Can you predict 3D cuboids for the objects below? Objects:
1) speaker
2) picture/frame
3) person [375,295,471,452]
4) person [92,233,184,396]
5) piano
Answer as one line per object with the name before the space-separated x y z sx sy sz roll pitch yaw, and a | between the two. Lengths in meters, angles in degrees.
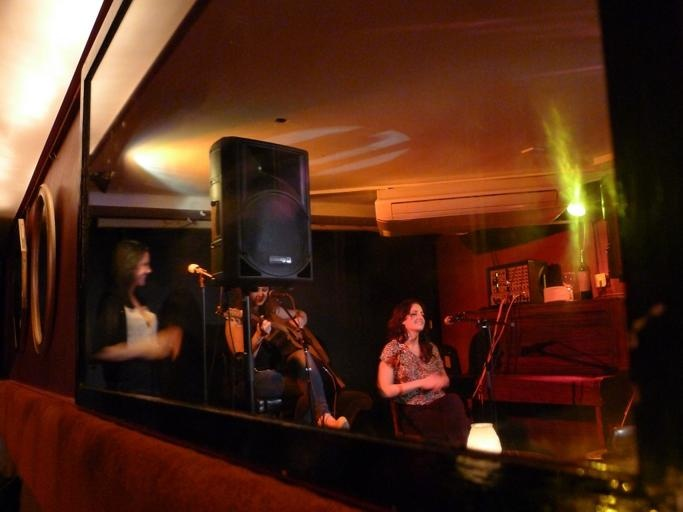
speaker | -0.256 -0.145 1.908 0.364 0.452 0.130 -9 -2 -34
picture/frame | -1.831 0.102 3.474 0.056 1.215 1.139 2 -1 -32
person | 0.553 0.742 3.797 0.534 0.912 0.706 -10 -2 16
person | -1.038 0.293 2.854 0.202 0.670 1.314 -9 -2 -9
piano | 1.510 0.814 3.927 0.442 1.173 1.185 17 -23 -24
